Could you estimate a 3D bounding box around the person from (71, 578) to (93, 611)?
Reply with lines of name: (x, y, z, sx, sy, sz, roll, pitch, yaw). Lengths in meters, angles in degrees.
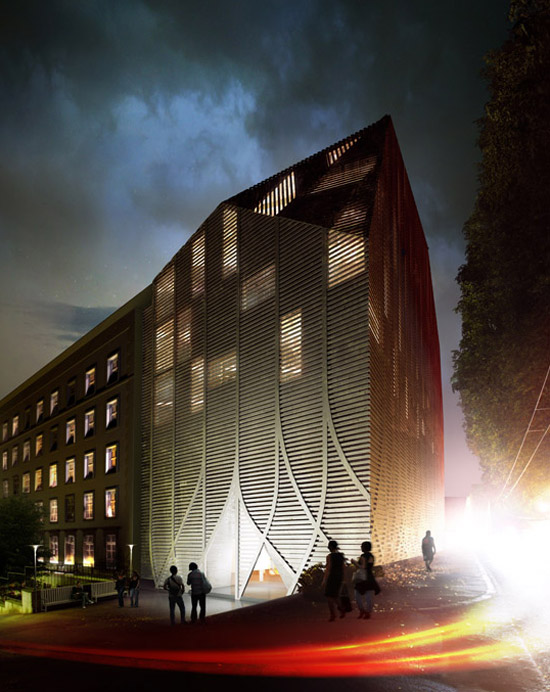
person: (-6.066, 7.877, 22.335, 0.499, 0.881, 0.896, -12, -17, 35)

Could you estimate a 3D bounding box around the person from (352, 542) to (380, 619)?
person: (1.406, 3.667, 11.012, 0.371, 1.121, 0.908, -5, -21, 4)
